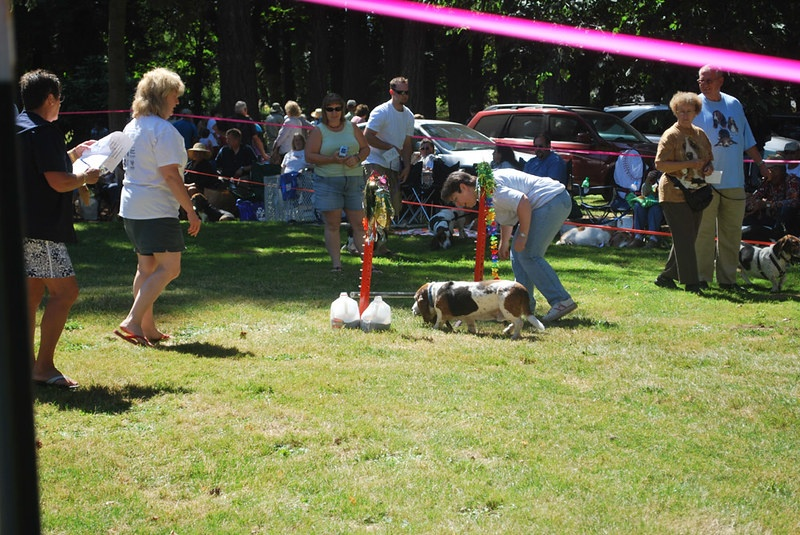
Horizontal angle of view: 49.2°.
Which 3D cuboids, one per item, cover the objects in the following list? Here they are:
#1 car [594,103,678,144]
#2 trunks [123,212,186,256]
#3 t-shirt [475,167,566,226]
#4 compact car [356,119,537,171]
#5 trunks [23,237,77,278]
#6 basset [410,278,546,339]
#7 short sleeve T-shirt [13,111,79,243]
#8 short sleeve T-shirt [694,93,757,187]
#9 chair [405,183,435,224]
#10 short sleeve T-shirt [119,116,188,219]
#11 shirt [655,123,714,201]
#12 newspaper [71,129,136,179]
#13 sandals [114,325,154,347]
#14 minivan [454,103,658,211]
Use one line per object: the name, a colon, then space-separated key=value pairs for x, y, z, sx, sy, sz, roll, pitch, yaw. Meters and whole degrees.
car: x=5.245 y=-3.259 z=19.803 sx=1.850 sy=0.810 sz=0.893 roll=-2 pitch=23 yaw=5
trunks: x=-2.131 y=-0.283 z=7.605 sx=0.471 sy=0.332 sz=0.339 roll=6 pitch=17 yaw=35
t-shirt: x=1.205 y=-0.722 z=8.725 sx=0.627 sy=0.287 sz=0.562 roll=17 pitch=-10 yaw=-28
compact car: x=0.794 y=-2.253 z=17.046 sx=3.408 sy=1.236 sz=1.606 roll=8 pitch=16 yaw=31
trunks: x=-2.564 y=-0.073 z=6.360 sx=0.324 sy=0.289 sz=0.173 roll=-4 pitch=-2 yaw=-31
basset: x=0.693 y=0.405 z=8.522 sx=1.427 sy=0.583 sz=0.399 roll=-2 pitch=3 yaw=31
short sleeve T-shirt: x=-2.641 y=-0.647 z=6.556 sx=0.361 sy=0.996 sz=0.400 roll=-5 pitch=16 yaw=-22
short sleeve T-shirt: x=3.809 y=-1.474 z=10.341 sx=0.701 sy=0.935 sz=0.335 roll=-7 pitch=11 yaw=-4
chair: x=0.289 y=-1.153 z=16.093 sx=0.591 sy=0.805 sz=0.512 roll=6 pitch=-5 yaw=-8
short sleeve T-shirt: x=-2.175 y=-0.881 z=7.679 sx=0.754 sy=0.848 sz=0.540 roll=3 pitch=1 yaw=43
shirt: x=3.270 y=-1.191 z=9.991 sx=0.878 sy=0.883 sz=0.467 roll=-5 pitch=9 yaw=-20
newspaper: x=-2.387 y=-0.920 z=7.036 sx=0.377 sy=0.139 sz=0.385 roll=17 pitch=58 yaw=45
sandals: x=-2.344 y=0.608 z=7.671 sx=0.382 sy=0.095 sz=0.136 roll=31 pitch=7 yaw=-19
minivan: x=3.368 y=-2.538 z=18.414 sx=3.700 sy=1.454 sz=1.773 roll=10 pitch=11 yaw=39
